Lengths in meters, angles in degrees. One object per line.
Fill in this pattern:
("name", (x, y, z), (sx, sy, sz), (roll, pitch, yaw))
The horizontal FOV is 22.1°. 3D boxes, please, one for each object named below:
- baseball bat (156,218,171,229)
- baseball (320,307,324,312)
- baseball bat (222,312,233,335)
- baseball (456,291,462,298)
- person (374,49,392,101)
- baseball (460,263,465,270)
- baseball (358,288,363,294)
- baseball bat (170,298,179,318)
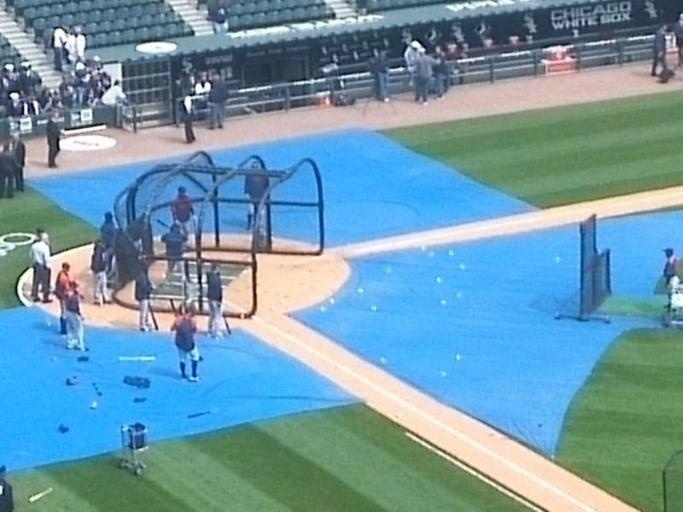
("baseball bat", (-5.673, -1.086, 55.494), (0.152, 0.146, 0.699), (23, 4, 18))
("baseball", (-0.515, 1.535, 53.104), (0.165, 0.115, 0.292), (-5, 10, -1))
("baseball bat", (-3.373, 1.958, 52.091), (0.104, 0.107, 0.773), (-12, 54, -29))
("baseball", (3.701, 1.124, 53.760), (0.170, 0.125, 0.279), (-4, 10, 5))
("person", (1.669, -7.071, 68.883), (0.569, 1.887, 0.688), (-5, 10, 1))
("baseball", (3.927, 0.269, 55.358), (0.127, 0.084, 0.164), (-2, 32, 5))
("baseball", (0.664, 0.996, 54.106), (0.179, 0.099, 0.281), (-5, 10, -2))
("baseball bat", (-5.031, 1.498, 52.744), (0.144, 0.864, 0.125), (-7, -29, -5))
